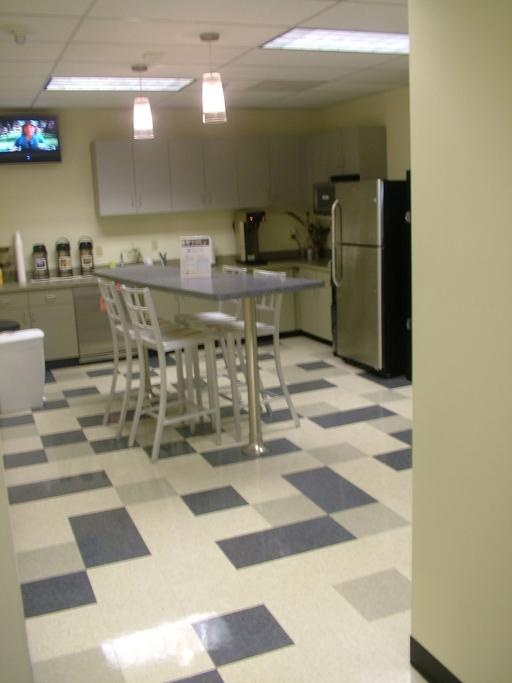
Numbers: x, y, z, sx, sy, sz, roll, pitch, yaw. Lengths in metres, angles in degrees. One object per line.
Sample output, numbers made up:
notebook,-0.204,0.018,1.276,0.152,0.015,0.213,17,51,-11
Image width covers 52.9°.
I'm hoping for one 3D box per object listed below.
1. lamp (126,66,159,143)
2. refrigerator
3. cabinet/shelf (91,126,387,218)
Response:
lamp,-0.734,-1.547,3.349,0.116,0.429,0.120,-2,23,-8
refrigerator,1.080,-0.578,4.788,0.345,1.808,0.926,-8,10,-33
cabinet/shelf,-0.201,-2.001,6.082,3.102,0.921,0.983,-3,9,0
